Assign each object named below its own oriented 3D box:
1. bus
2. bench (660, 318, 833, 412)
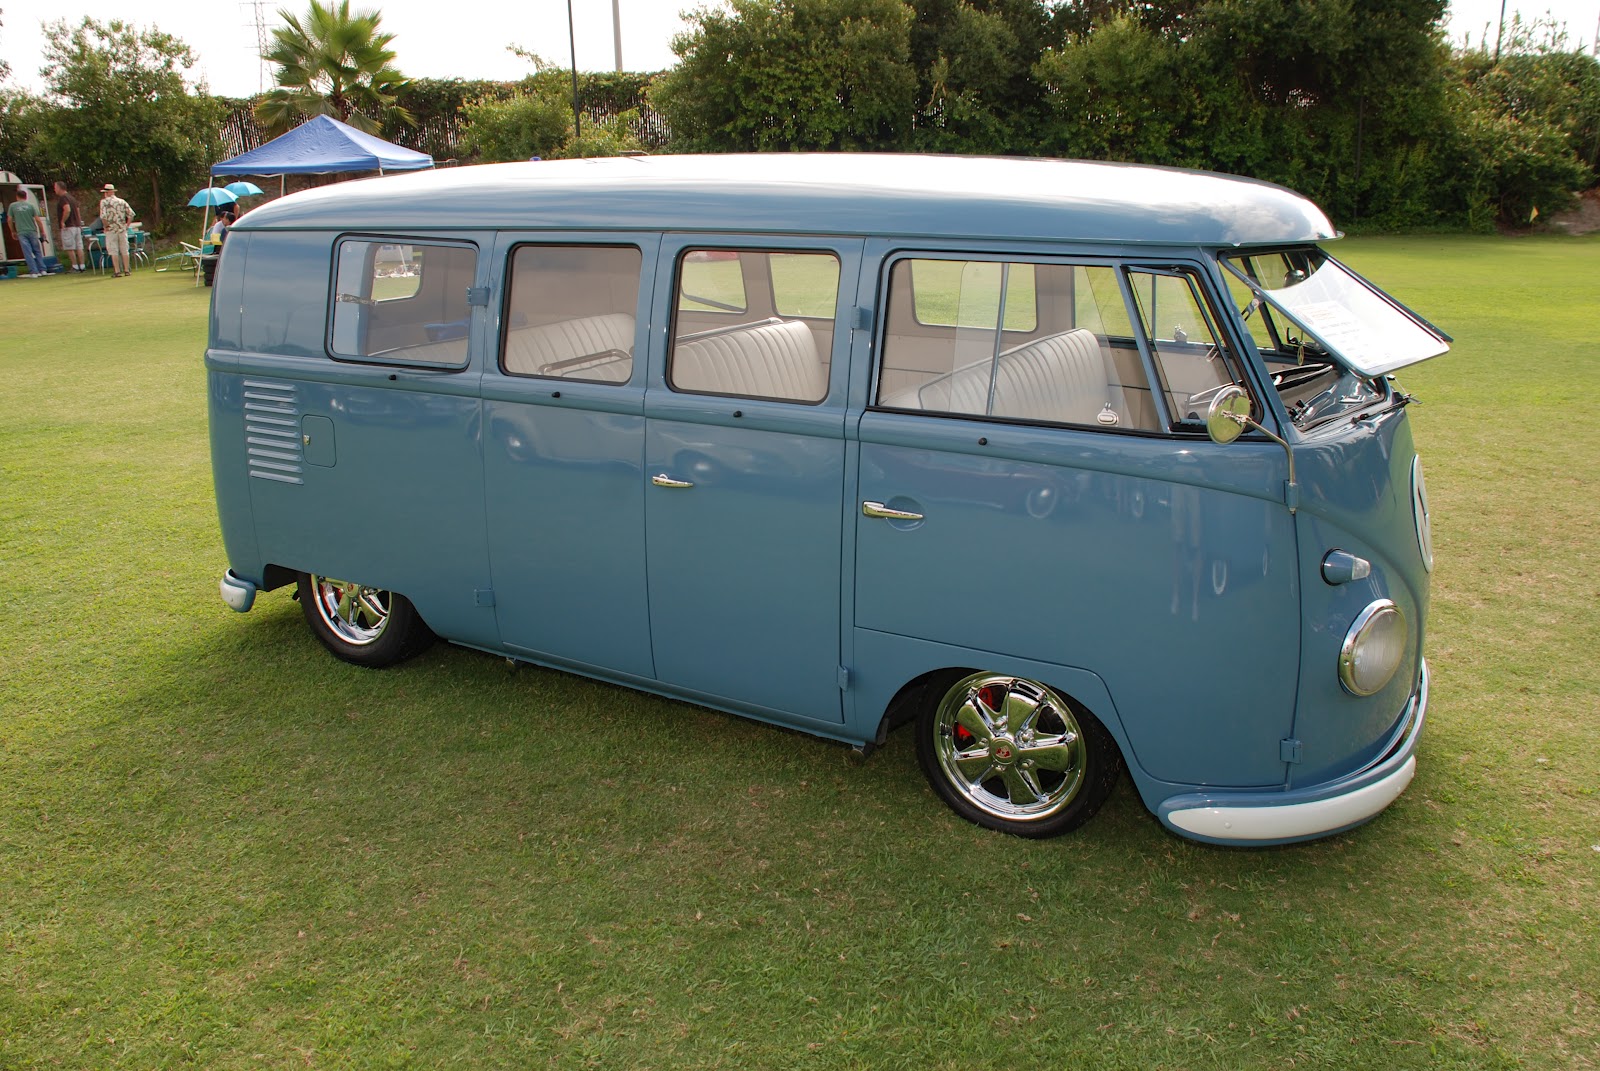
[{"bbox_3d":[-0.137,-0.645,6.781,7.374,3.216,3.012,9,21,26],"label":"bus"},{"bbox_3d":[-0.305,-0.940,5.885,1.016,0.522,0.196,12,26,40],"label":"bench"}]
